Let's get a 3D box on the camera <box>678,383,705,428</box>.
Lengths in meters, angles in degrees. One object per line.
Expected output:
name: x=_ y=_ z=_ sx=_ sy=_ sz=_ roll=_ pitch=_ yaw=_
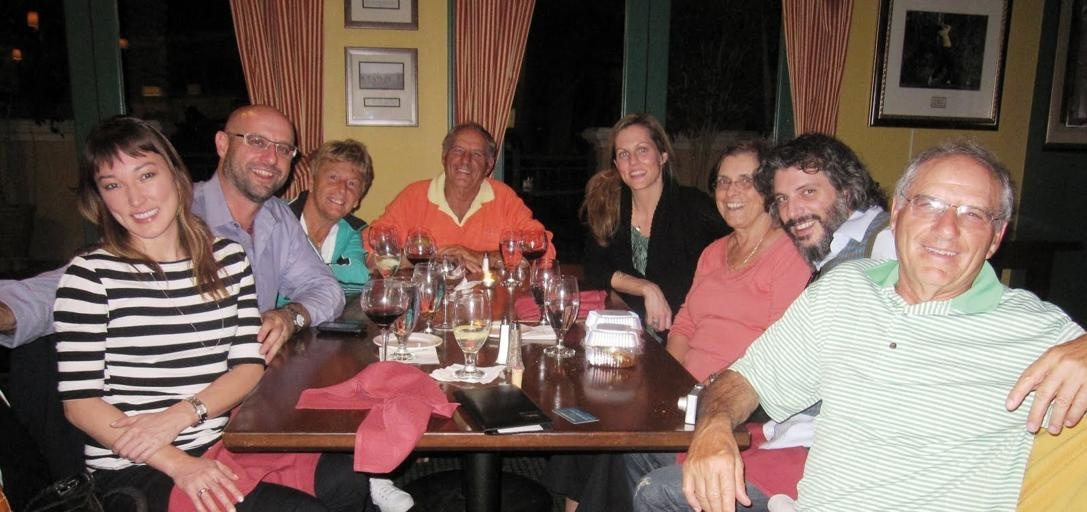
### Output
camera: x=0.851 y=0.876 z=4.211 sx=0.126 sy=0.136 sz=0.215 roll=6 pitch=11 yaw=22

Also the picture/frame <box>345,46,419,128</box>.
picture/frame: x=-1.523 y=-1.572 z=6.717 sx=0.908 sy=0.770 sz=0.058 roll=0 pitch=7 yaw=-2

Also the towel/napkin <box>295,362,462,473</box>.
towel/napkin: x=-0.944 y=0.909 z=4.181 sx=0.865 sy=0.525 sz=0.410 roll=-3 pitch=10 yaw=-17

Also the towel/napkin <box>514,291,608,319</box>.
towel/napkin: x=0.114 y=0.333 z=4.902 sx=0.333 sy=0.083 sz=0.293 roll=-1 pitch=13 yaw=-10

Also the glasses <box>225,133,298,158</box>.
glasses: x=-1.936 y=-0.789 z=5.085 sx=0.246 sy=0.061 sz=0.248 roll=19 pitch=-2 yaw=-41

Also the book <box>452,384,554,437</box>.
book: x=-0.243 y=0.884 z=4.182 sx=0.364 sy=0.075 sz=0.307 roll=-3 pitch=31 yaw=-22

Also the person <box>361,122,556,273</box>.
person: x=-0.735 y=-0.385 z=6.124 sx=1.852 sy=1.167 sz=0.939 roll=3 pitch=16 yaw=0
